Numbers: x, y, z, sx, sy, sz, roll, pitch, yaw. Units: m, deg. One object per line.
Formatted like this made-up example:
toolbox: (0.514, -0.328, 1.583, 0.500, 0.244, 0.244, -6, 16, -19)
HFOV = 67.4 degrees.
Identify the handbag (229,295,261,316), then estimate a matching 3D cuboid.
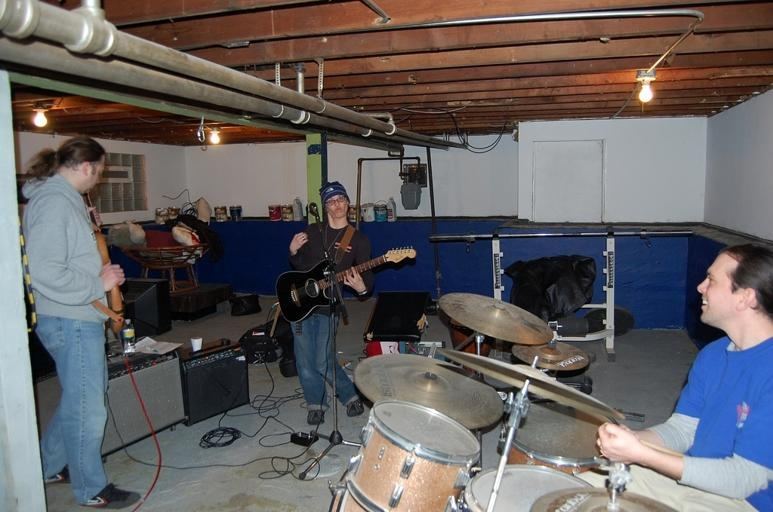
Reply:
handbag: (-2.191, 0.768, 8.964, 0.350, 0.235, 0.352, -9, -3, 34)

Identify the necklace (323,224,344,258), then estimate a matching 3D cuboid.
necklace: (-0.528, -0.138, 5.352, 0.161, 0.277, 0.058, 0, -3, 16)

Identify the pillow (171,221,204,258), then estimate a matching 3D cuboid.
pillow: (-2.972, -0.239, 8.686, 0.280, 0.589, 0.317, -46, 0, -29)

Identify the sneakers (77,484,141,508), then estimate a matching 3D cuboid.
sneakers: (-2.088, 1.852, 4.433, 0.440, 0.163, 0.151, 13, -4, -17)

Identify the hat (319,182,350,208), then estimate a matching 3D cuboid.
hat: (-0.502, -0.575, 5.504, 0.182, 0.171, 0.258, -14, -28, -11)

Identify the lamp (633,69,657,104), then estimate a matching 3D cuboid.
lamp: (2.488, -1.625, 5.535, 0.173, 0.285, 0.130, 5, -13, 13)

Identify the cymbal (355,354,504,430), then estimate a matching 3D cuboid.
cymbal: (0.312, 0.905, 4.034, 1.033, 0.195, 1.042, 8, 9, 20)

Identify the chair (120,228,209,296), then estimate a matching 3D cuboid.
chair: (-3.284, 0.161, 8.926, 1.080, 0.585, 1.031, -1, 3, 2)

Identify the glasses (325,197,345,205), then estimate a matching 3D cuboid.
glasses: (-0.467, -0.513, 5.413, 0.200, 0.085, 0.111, -1, 7, -7)

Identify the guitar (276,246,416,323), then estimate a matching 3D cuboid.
guitar: (-0.513, 0.278, 5.327, 1.459, 0.550, 0.167, -21, -18, 16)

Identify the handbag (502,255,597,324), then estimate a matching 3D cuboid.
handbag: (2.056, 0.359, 7.035, 0.919, 0.286, 0.877, -20, 44, 6)

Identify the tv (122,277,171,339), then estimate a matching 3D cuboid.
tv: (-3.537, 0.678, 8.087, 0.914, 0.740, 0.495, 17, 23, 38)

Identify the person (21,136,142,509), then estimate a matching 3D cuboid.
person: (-2.277, 0.524, 4.307, 0.624, 2.778, 0.409, -4, 9, -29)

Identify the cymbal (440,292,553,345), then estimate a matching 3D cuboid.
cymbal: (0.925, 0.464, 4.709, 0.880, 0.161, 0.868, -4, 21, -38)

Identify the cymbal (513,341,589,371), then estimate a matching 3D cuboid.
cymbal: (1.500, 0.934, 5.283, 0.639, 0.123, 0.615, -1, 11, 2)

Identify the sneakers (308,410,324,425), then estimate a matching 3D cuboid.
sneakers: (-0.660, 1.516, 5.440, 0.117, 0.140, 0.158, 1, -12, 2)
